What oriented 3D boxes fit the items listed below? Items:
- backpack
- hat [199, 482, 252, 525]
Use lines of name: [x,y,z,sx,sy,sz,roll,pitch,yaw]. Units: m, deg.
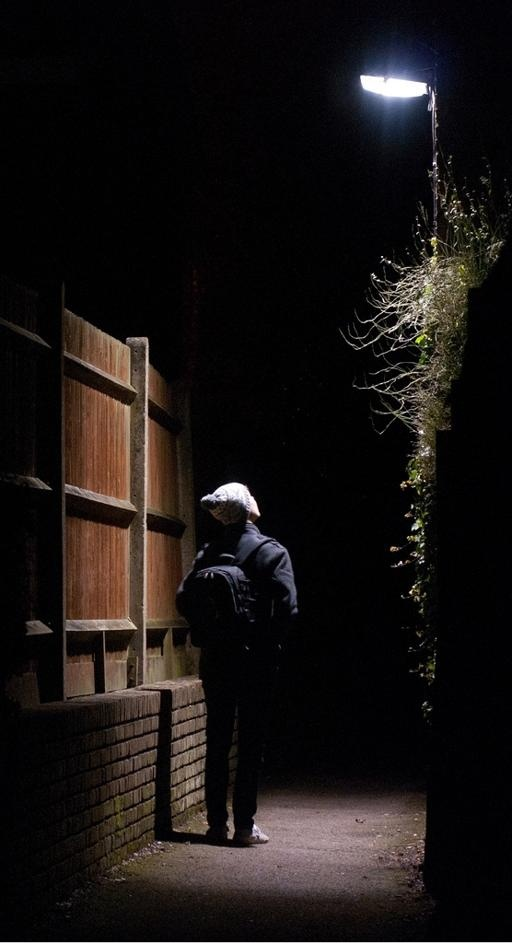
backpack: [-0.127,0.725,5.624,0.373,0.645,0.523,-3,18,30]
hat: [-0.199,0.197,6.027,0.284,0.283,0.223,-7,9,-30]
